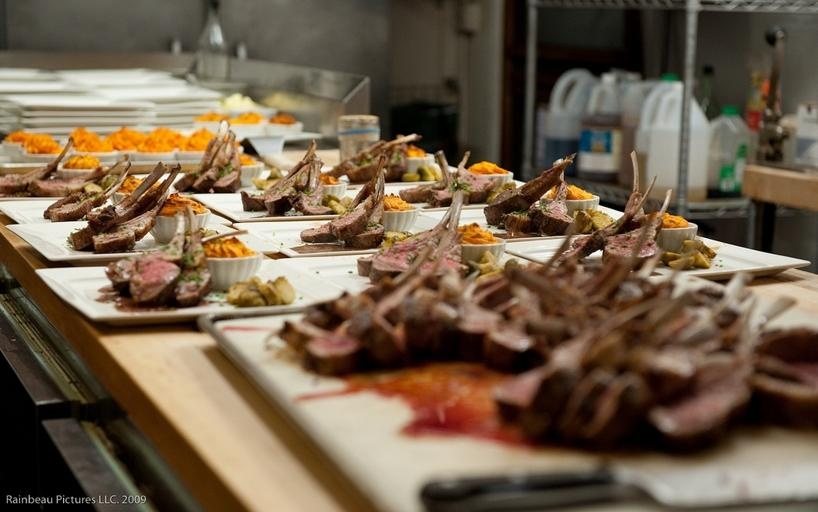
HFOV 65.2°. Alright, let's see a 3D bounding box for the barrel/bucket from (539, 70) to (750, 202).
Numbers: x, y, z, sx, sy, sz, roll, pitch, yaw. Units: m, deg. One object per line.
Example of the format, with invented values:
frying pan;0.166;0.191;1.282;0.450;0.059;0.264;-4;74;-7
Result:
barrel/bucket;0.907;-0.519;2.734;0.761;0.749;0.417;-3;12;7
